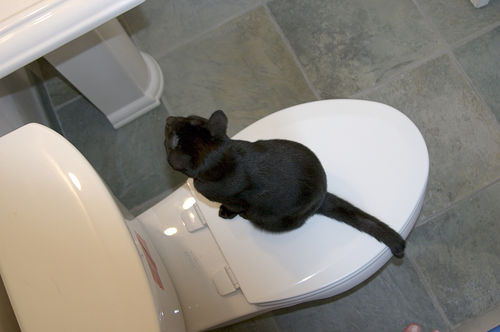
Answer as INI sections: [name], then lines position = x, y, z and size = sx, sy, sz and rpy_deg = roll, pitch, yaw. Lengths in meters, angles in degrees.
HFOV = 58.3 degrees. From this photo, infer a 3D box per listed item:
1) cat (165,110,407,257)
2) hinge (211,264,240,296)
[cat]
position = 0.152, 0.067, 1.516
size = 0.278, 0.556, 0.200
rpy_deg = 138, 155, -76
[hinge]
position = -0.083, 0.396, 1.574
size = 0.090, 0.103, 0.023
rpy_deg = -30, -3, 1
